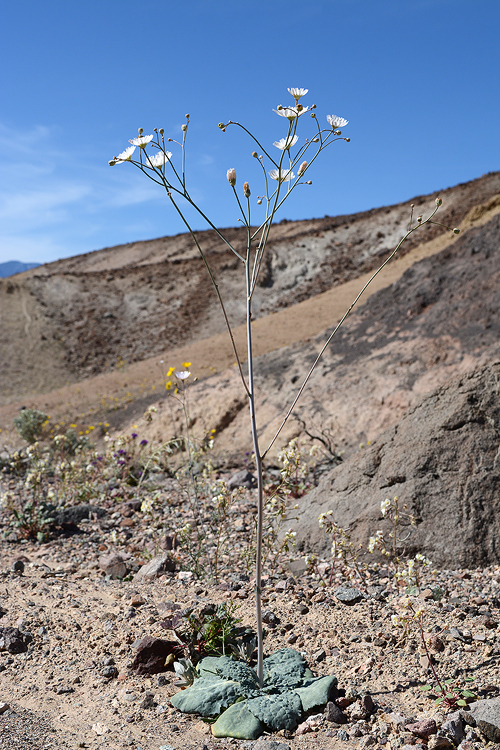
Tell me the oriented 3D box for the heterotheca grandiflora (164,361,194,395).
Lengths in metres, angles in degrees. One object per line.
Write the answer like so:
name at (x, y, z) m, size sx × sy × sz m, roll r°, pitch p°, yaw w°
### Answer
heterotheca grandiflora at (-0.818, 0.037, 10.906) m, size 0.610 × 0.253 × 0.513 m, roll -7°, pitch -5°, yaw -5°
